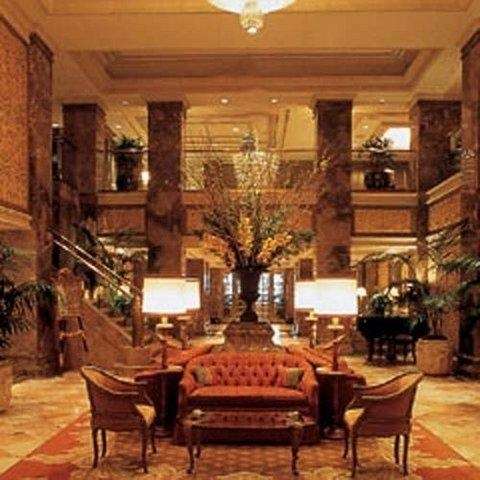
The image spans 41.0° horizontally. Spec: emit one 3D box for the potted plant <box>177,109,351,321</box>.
[{"bbox_3d":[0.076,-0.003,7.824,1.136,1.743,1.241,-6,-7,7],"label":"potted plant"}]

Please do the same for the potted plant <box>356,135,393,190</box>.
[{"bbox_3d":[3.348,-1.840,15.423,0.753,1.363,0.840,1,-1,-24],"label":"potted plant"}]
